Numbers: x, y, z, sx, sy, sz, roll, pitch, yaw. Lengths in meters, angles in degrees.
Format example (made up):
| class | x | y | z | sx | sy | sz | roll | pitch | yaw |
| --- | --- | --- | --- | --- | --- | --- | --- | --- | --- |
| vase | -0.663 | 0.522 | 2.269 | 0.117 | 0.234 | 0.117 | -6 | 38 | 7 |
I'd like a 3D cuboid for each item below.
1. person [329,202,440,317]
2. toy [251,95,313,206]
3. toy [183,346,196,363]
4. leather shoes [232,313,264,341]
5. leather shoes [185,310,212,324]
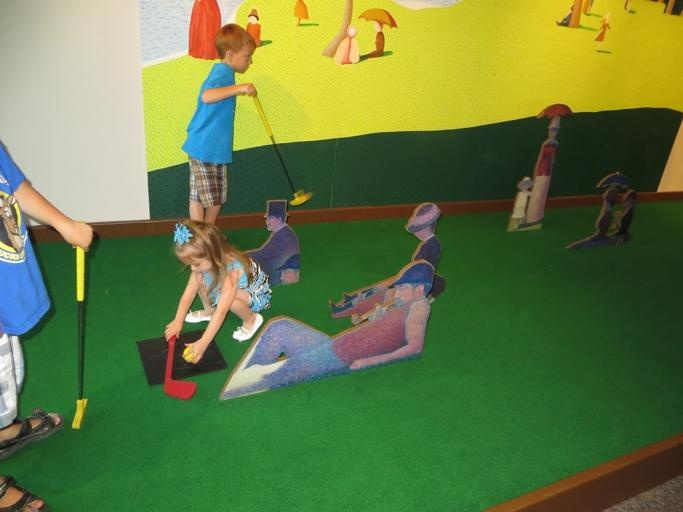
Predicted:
| class | x | y | z | sx | sy | sz | roll | pitch | yaw |
| --- | --- | --- | --- | --- | --- | --- | --- | --- | --- |
| person | 0.271 | 0.044 | 3.865 | 0.789 | 0.668 | 0.372 | -16 | 37 | 2 |
| toy | -0.462 | -0.731 | 4.344 | 0.465 | 1.022 | 0.572 | 0 | 36 | -3 |
| toy | -0.840 | 0.551 | 3.097 | 0.067 | 0.091 | 0.071 | -13 | 46 | -13 |
| leather shoes | -0.566 | 0.453 | 3.374 | 0.104 | 0.201 | 0.062 | 42 | 8 | 28 |
| leather shoes | -0.876 | 0.378 | 3.373 | 0.145 | 0.058 | 0.083 | 3 | 35 | -13 |
